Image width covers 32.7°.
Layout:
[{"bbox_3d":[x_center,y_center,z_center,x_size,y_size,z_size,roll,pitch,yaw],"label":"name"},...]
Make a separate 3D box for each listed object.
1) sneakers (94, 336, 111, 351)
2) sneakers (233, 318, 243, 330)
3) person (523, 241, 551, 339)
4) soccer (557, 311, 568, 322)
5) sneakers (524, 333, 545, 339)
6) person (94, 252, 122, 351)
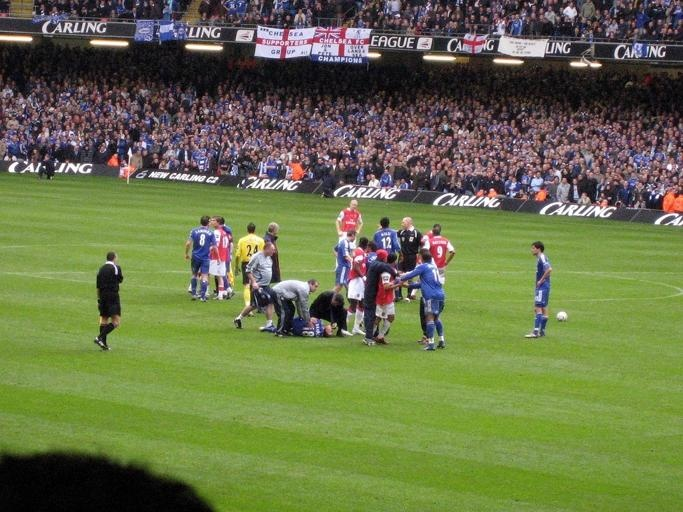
[{"bbox_3d":[-5.362,2.028,26.133,0.233,0.166,0.506,-30,-24,7],"label":"sneakers"},{"bbox_3d":[-2.577,1.694,28.637,0.187,0.240,0.256,12,19,41],"label":"sneakers"},{"bbox_3d":[4.918,0.876,29.030,0.502,2.257,1.239,4,12,9],"label":"person"},{"bbox_3d":[5.802,1.642,30.635,0.216,0.226,0.278,0,-1,4],"label":"soccer"},{"bbox_3d":[4.767,1.990,28.750,0.448,0.188,0.151,2,7,7],"label":"sneakers"},{"bbox_3d":[-5.303,0.985,26.474,0.597,2.180,1.434,0,12,-11],"label":"person"}]
